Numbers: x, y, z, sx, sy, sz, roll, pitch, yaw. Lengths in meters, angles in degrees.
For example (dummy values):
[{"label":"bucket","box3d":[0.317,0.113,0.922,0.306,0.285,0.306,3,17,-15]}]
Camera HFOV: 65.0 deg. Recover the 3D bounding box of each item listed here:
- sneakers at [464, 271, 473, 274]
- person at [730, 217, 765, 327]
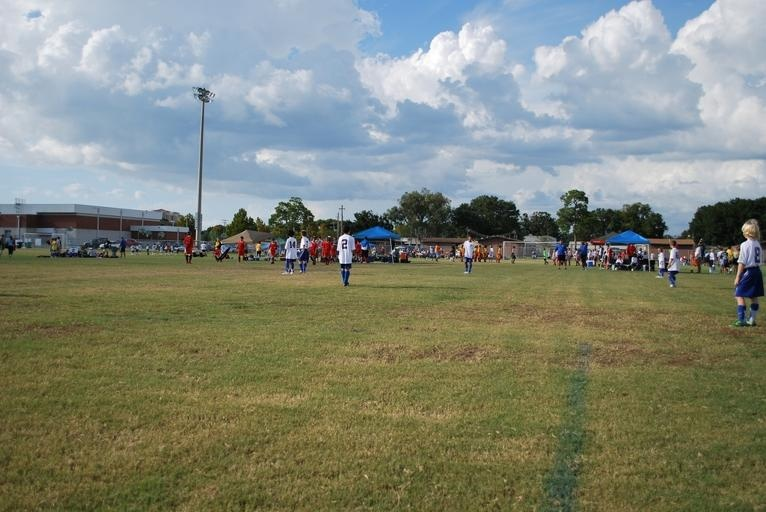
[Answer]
[{"label":"sneakers","box3d":[3.961,0.770,27.958,0.117,0.146,0.323,-2,-6,33]},{"label":"person","box3d":[6.945,0.337,11.325,0.477,1.986,0.810,9,15,31]}]
